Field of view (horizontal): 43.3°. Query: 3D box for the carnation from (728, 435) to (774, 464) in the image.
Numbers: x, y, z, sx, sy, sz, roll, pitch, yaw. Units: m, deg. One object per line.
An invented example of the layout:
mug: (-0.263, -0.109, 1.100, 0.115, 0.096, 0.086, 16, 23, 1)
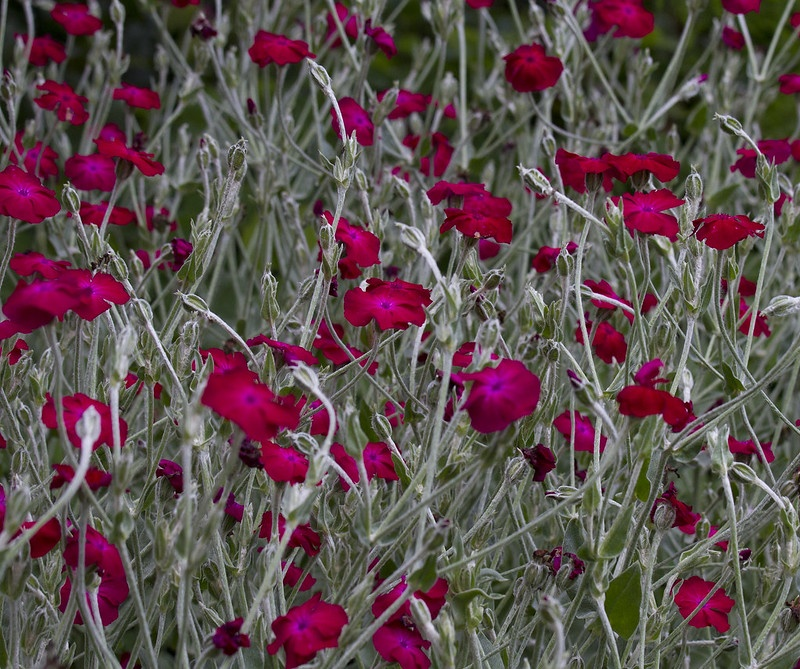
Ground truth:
carnation: (0.544, 0.178, 1.567, 0.053, 0.023, 0.052, 9, 2, -44)

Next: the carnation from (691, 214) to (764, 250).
carnation: (0.453, -0.146, 1.368, 0.060, 0.027, 0.071, 1, 24, -5)
